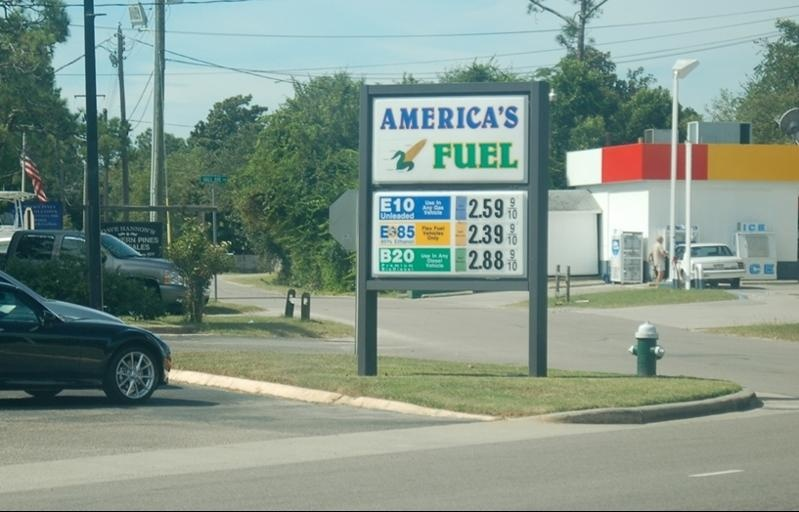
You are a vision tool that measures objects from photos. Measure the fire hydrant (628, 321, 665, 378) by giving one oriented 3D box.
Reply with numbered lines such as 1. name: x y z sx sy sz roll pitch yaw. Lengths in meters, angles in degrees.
1. fire hydrant: 7.340 2.778 41.723 0.766 1.709 1.185 -3 4 -9

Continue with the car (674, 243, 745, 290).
1. car: 14.018 0.156 64.877 2.510 1.637 4.611 -3 7 -8
